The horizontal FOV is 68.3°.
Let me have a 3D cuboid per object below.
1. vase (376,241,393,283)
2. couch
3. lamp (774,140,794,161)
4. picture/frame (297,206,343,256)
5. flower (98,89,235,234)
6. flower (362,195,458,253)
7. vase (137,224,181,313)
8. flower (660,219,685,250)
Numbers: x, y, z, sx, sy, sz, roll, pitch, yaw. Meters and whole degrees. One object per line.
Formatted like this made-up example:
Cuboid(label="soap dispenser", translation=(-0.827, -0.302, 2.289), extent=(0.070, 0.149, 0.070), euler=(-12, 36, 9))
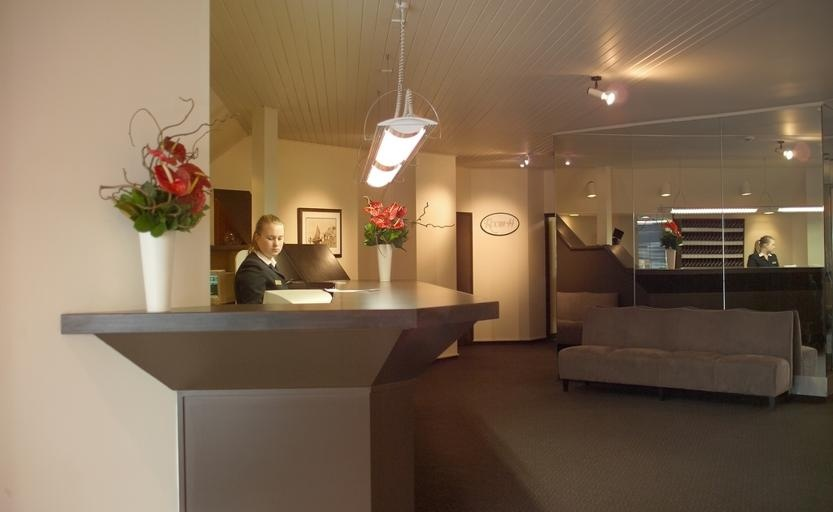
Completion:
Cuboid(label="vase", translation=(-0.318, 0.060, 6.059), extent=(0.280, 0.369, 0.280), euler=(0, -6, 1))
Cuboid(label="couch", translation=(3.092, 1.067, 7.220), extent=(2.375, 0.962, 0.588), euler=(3, 6, 33))
Cuboid(label="lamp", translation=(4.110, -1.182, 6.852), extent=(0.081, 0.234, 0.184), euler=(-3, 6, -25))
Cuboid(label="picture/frame", translation=(-1.374, -0.369, 8.595), extent=(0.735, 0.716, 0.051), euler=(1, -5, -41))
Cuboid(label="flower", translation=(-1.645, -0.585, 3.911), extent=(0.678, 0.910, 0.573), euler=(-3, 6, -26))
Cuboid(label="flower", translation=(-0.143, -0.314, 5.939), extent=(0.886, 0.457, 0.514), euler=(13, 21, 33))
Cuboid(label="vase", translation=(-1.579, 0.091, 3.741), extent=(0.198, 0.467, 0.197), euler=(-2, 5, -14))
Cuboid(label="flower", translation=(3.084, -0.259, 7.418), extent=(0.320, 0.382, 0.267), euler=(-1, 1, 23))
